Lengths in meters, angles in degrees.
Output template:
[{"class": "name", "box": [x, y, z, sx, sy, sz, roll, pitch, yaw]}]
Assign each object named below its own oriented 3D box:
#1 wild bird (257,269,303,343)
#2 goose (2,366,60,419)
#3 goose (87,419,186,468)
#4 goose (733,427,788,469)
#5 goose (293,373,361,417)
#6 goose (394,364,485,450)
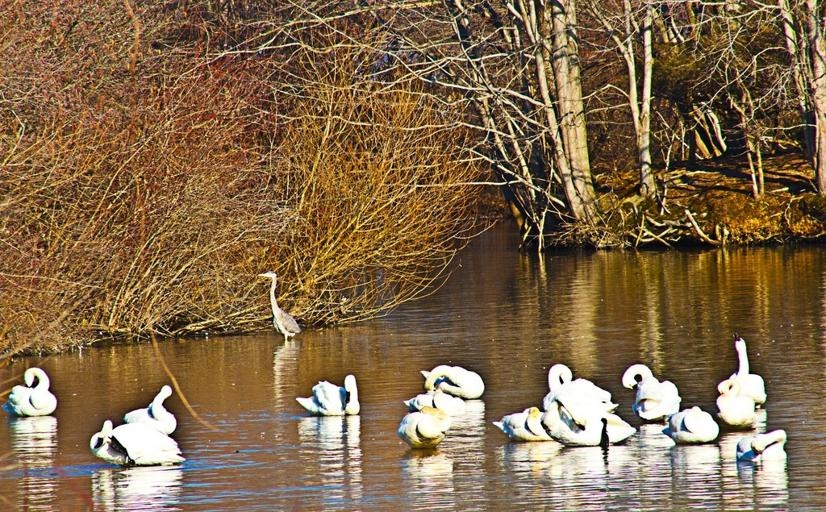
[{"class": "wild bird", "box": [-2.556, 0.900, 27.003, 0.730, 1.432, 1.347, -2, 10, -6]}, {"class": "goose", "box": [-5.991, 2.156, 22.096, 0.975, 0.959, 0.854, 0, 3, 31]}, {"class": "goose", "box": [-3.805, 2.541, 19.393, 1.246, 0.644, 0.338, -3, 10, -9]}, {"class": "goose", "box": [4.702, 2.567, 18.867, 0.487, 0.548, 0.643, -4, -1, -13]}, {"class": "goose", "box": [-1.264, 2.096, 21.493, 0.898, 0.708, 0.565, -1, 4, 15]}, {"class": "goose", "box": [0.369, 2.193, 20.816, 0.911, 0.592, 2.659, 1, 9, 12]}]
